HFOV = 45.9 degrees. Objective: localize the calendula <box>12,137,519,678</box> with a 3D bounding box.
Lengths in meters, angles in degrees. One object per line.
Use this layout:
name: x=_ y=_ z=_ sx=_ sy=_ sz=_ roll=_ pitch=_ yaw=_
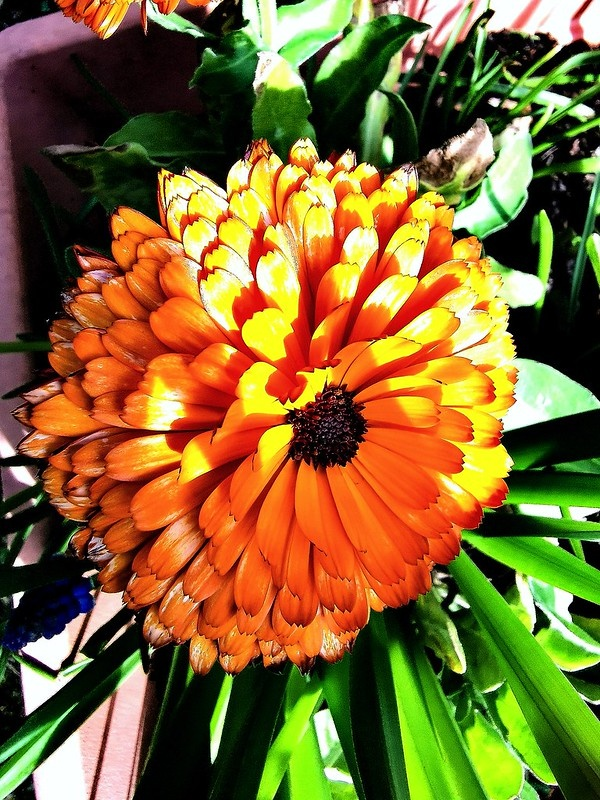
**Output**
calendula: x=-0.003 y=0.027 z=0.595 sx=0.149 sy=0.388 sz=0.355 roll=34 pitch=85 yaw=37
